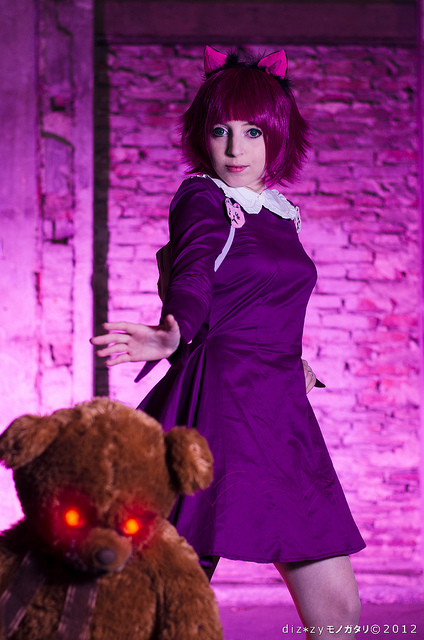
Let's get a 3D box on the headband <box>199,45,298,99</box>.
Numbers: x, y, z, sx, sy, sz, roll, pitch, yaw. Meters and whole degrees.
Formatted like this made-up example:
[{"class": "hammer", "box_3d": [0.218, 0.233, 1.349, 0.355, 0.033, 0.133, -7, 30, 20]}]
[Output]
[{"class": "headband", "box_3d": [0.067, -0.491, 1.358, 0.201, 0.126, 0.020, 2, 3, -3]}]
